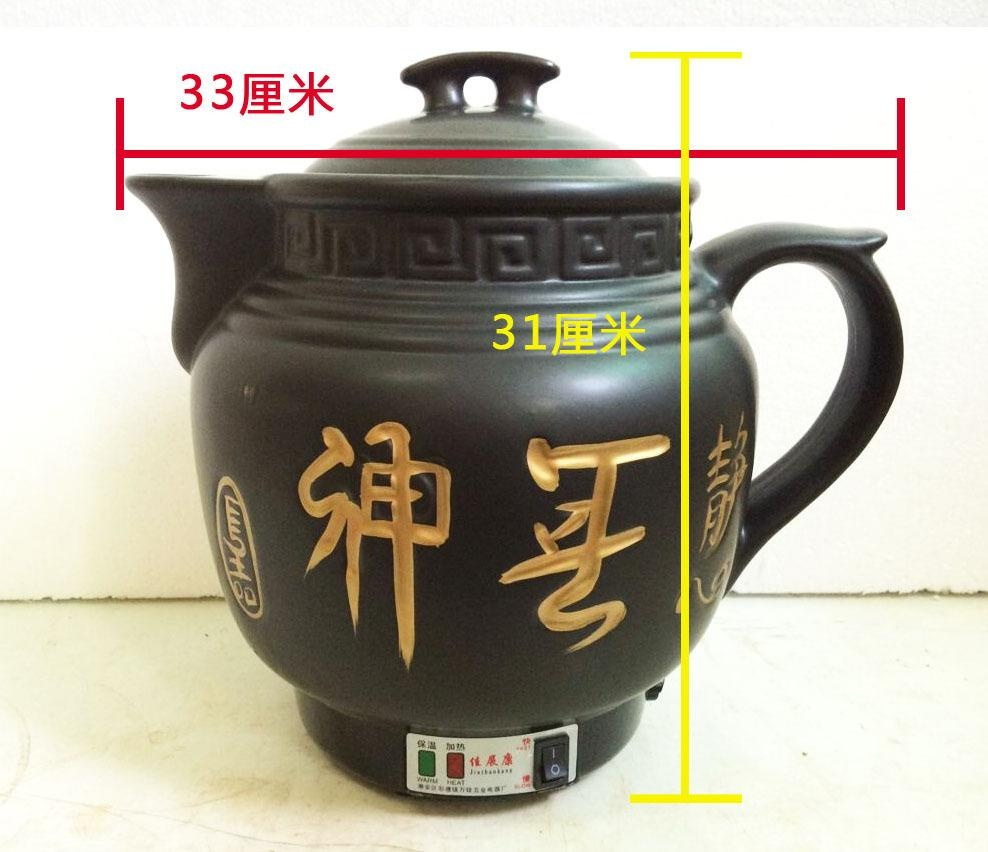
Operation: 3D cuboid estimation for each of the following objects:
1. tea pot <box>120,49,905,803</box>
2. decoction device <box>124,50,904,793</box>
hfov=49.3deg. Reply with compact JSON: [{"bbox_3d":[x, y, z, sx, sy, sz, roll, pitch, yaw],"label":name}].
[{"bbox_3d":[0.135,-0.030,1.591,1.163,0.834,0.761,-2,11,-10],"label":"tea pot"},{"bbox_3d":[0.029,0.023,1.557,1.145,0.843,0.781,0,9,-8],"label":"decoction device"}]
